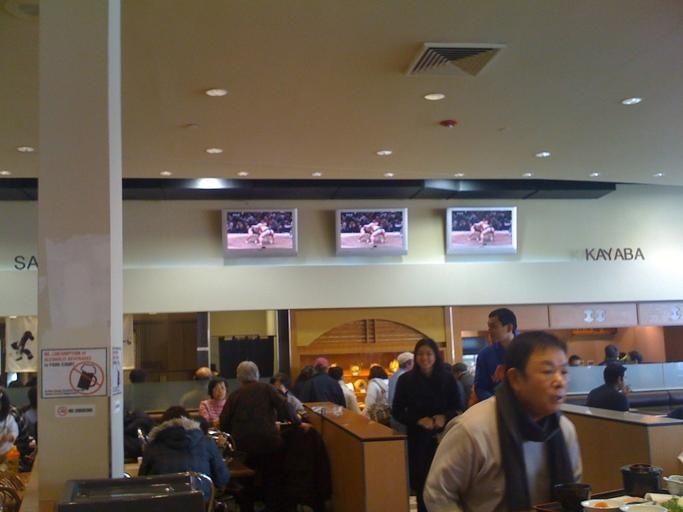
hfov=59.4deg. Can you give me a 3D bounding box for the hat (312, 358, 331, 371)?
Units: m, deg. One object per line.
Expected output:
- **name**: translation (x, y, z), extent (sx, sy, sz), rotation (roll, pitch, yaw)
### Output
- **hat**: translation (-0.235, 1.287, 7.153), extent (0.152, 0.110, 0.210), rotation (-4, 16, -9)

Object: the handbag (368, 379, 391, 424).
- **handbag**: translation (0.405, 1.603, 6.640), extent (0.253, 0.429, 0.458), rotation (-7, -14, 25)
